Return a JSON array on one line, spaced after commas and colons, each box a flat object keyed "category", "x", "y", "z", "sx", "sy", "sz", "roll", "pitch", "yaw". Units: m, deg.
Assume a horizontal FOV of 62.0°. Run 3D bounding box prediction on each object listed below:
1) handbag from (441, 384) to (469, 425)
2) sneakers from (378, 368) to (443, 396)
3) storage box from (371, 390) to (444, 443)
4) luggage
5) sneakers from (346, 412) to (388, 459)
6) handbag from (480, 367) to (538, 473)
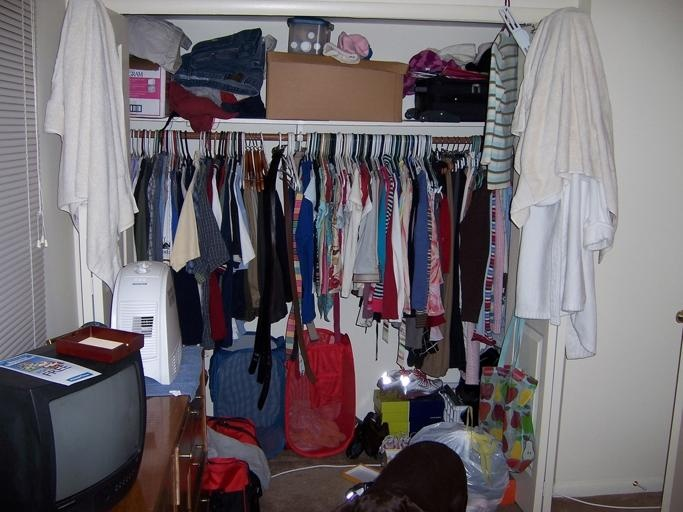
[{"category": "handbag", "x": 0.669, "y": 0.898, "z": 3.367, "sx": 0.220, "sy": 0.081, "sz": 0.226, "roll": 4, "pitch": 8, "yaw": 38}, {"category": "sneakers", "x": 0.425, "y": 0.782, "z": 3.480, "sx": 0.263, "sy": 0.093, "sz": 0.199, "roll": -3, "pitch": 12, "yaw": -24}, {"category": "storage box", "x": 0.426, "y": 0.951, "z": 3.423, "sx": 0.257, "sy": 0.183, "sz": 0.267, "roll": -1, "pitch": 10, "yaw": -5}, {"category": "luggage", "x": 0.576, "y": -0.917, "z": 3.458, "sx": 0.560, "sy": 0.276, "sz": 0.471, "roll": -4, "pitch": 3, "yaw": -20}, {"category": "sneakers", "x": 0.163, "y": 1.092, "z": 3.398, "sx": 0.189, "sy": 0.251, "sz": 0.078, "roll": 5, "pitch": -16, "yaw": 42}, {"category": "handbag", "x": 0.830, "y": 0.814, "z": 2.842, "sx": 0.285, "sy": 0.520, "sz": 0.143, "roll": 4, "pitch": 6, "yaw": 20}]
